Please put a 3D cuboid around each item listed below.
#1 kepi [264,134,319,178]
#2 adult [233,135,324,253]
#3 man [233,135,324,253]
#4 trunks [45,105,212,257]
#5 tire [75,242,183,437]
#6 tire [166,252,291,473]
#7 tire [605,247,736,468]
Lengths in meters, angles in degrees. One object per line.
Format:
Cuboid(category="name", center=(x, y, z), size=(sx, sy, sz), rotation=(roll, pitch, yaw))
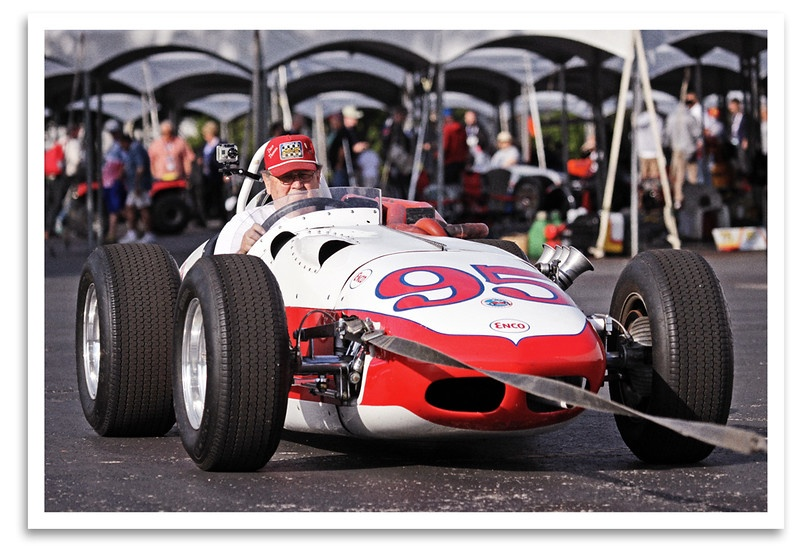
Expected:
Cuboid(category="kepi", center=(-0.944, -1.078, 9.129), size=(0.437, 0.326, 0.625), rotation=(-7, 11, -3))
Cuboid(category="adult", center=(-0.996, -0.677, 8.764), size=(0.629, 0.561, 1.116), rotation=(9, 50, -10))
Cuboid(category="man", center=(-0.997, -0.686, 8.747), size=(0.629, 0.561, 1.116), rotation=(9, 50, -10))
Cuboid(category="trunks", center=(-5.535, -1.868, 21.450), size=(2.634, 1.891, 1.525), rotation=(0, 1, 21))
Cuboid(category="tire", center=(-2.087, 0.510, 8.247), size=(0.509, 1.487, 1.341), rotation=(1, 2, -27))
Cuboid(category="tire", center=(-1.138, 0.595, 7.195), size=(0.491, 1.547, 1.306), rotation=(1, 3, -28))
Cuboid(category="tire", center=(1.885, 0.613, 7.420), size=(0.492, 1.653, 1.342), rotation=(0, -5, -7))
